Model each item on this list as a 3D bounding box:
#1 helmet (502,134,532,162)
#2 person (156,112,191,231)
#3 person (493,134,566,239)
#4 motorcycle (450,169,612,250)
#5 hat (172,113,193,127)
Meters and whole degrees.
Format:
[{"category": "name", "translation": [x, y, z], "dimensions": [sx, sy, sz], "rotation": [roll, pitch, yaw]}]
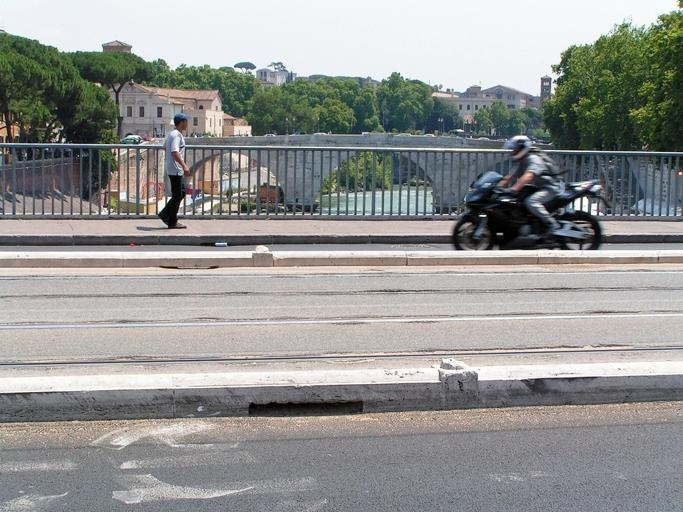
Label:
[{"category": "helmet", "translation": [2.236, -1.384, 14.957], "dimensions": [0.377, 0.343, 0.292], "rotation": [20, 14, 21]}, {"category": "person", "translation": [-2.491, -1.254, 17.304], "dimensions": [0.470, 1.797, 1.137], "rotation": [-2, 15, -8]}, {"category": "person", "translation": [2.382, -0.894, 14.952], "dimensions": [0.789, 1.264, 0.817], "rotation": [-3, 16, -13]}, {"category": "motorcycle", "translation": [2.234, -0.599, 15.424], "dimensions": [2.464, 1.262, 0.824], "rotation": [3, 15, -4]}, {"category": "hat", "translation": [-2.338, -1.982, 17.048], "dimensions": [0.302, 0.155, 0.205], "rotation": [-20, 31, -39]}]
